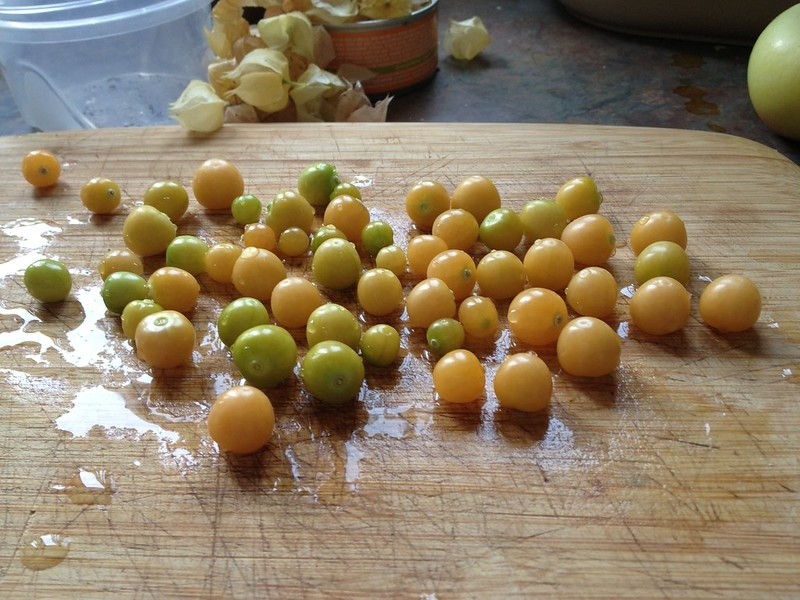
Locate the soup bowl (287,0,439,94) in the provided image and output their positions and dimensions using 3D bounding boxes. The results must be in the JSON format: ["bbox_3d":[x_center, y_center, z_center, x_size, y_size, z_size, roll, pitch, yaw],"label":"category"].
[{"bbox_3d":[-0.069,-0.824,2.585,0.343,0.190,0.323,-4,29,2],"label":"soup bowl"}]
